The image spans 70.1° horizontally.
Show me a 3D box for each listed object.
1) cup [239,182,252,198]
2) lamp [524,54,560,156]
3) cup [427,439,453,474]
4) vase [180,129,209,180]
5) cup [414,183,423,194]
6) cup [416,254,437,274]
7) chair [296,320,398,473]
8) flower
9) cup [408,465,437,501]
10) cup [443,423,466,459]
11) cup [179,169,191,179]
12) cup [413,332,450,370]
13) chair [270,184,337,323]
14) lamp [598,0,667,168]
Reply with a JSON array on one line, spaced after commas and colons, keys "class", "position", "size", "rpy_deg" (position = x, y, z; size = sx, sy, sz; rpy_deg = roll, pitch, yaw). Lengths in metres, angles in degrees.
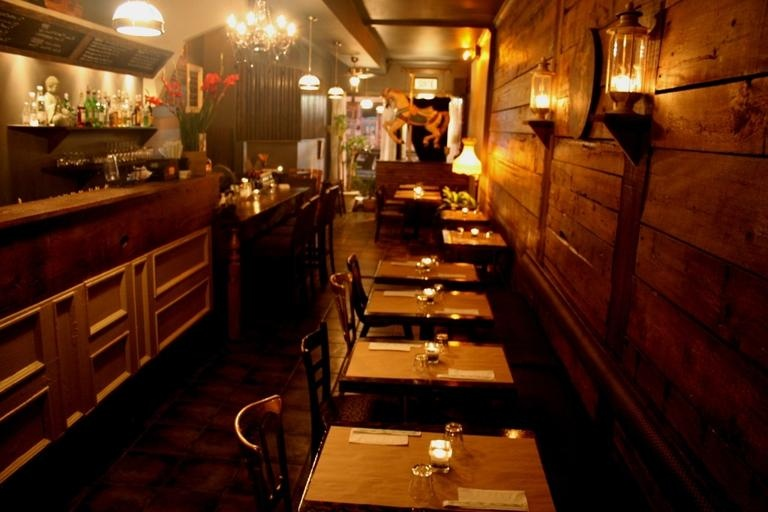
[{"class": "cup", "position": [-1.672, -0.792, 6.655], "size": [0.107, 0.152, 0.431], "rpy_deg": [0, 17, -9]}, {"class": "lamp", "position": [1.260, -1.211, 4.399], "size": [0.248, 0.703, 0.242], "rpy_deg": [10, 12, 36]}, {"class": "cup", "position": [0.263, 0.913, 2.545], "size": [0.112, 0.150, 0.114], "rpy_deg": [0, 2, 0]}, {"class": "vase", "position": [-1.748, -0.934, 5.108], "size": [0.216, 0.380, 0.648], "rpy_deg": [-4, 18, -19]}, {"class": "cup", "position": [0.653, -1.234, 10.300], "size": [0.168, 0.238, 0.231], "rpy_deg": [6, -11, 4]}, {"class": "cup", "position": [0.392, 0.082, 5.018], "size": [0.128, 0.077, 0.172], "rpy_deg": [3, 16, 2]}, {"class": "chair", "position": [-0.229, 0.870, 3.338], "size": [0.586, 1.125, 0.616], "rpy_deg": [2, 24, 7]}, {"class": "flower", "position": [-2.294, -1.634, 6.724], "size": [1.020, 1.444, 1.180], "rpy_deg": [-2, 17, -25]}, {"class": "cup", "position": [0.170, 0.994, 2.425], "size": [0.108, 0.109, 0.109], "rpy_deg": [-1, 1, 0]}, {"class": "cup", "position": [0.338, 0.903, 2.695], "size": [0.098, 0.133, 0.133], "rpy_deg": [0, -12, 17]}, {"class": "cup", "position": [-1.734, -0.703, 4.783], "size": [0.068, 0.086, 0.126], "rpy_deg": [0, 7, -4]}, {"class": "cup", "position": [0.300, 0.582, 3.336], "size": [0.131, 0.225, 0.227], "rpy_deg": [4, 5, 33]}, {"class": "chair", "position": [-0.976, 0.008, 6.561], "size": [0.463, 0.897, 1.438], "rpy_deg": [4, 20, 7]}, {"class": "lamp", "position": [1.173, -0.837, 2.701], "size": [0.257, 0.742, 0.382], "rpy_deg": [4, 16, 6]}]
